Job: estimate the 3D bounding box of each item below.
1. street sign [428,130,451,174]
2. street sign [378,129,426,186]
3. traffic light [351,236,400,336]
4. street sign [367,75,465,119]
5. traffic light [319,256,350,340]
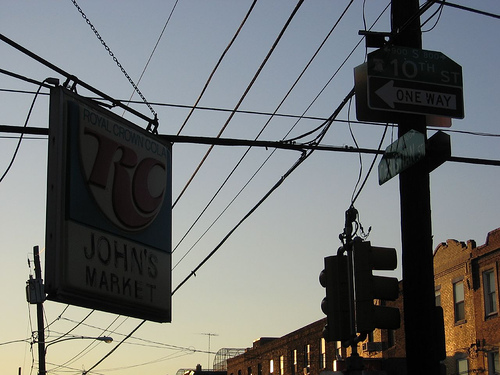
[{"bbox_3d":[2.599,-0.508,9.534,0.264,0.446,0.609,-7,-25,5],"label":"street sign"},{"bbox_3d":[2.245,-0.471,10.378,0.423,0.627,0.959,26,-38,-26],"label":"street sign"},{"bbox_3d":[1.728,1.255,9.633,0.660,1.397,0.712,-5,-24,11],"label":"traffic light"},{"bbox_3d":[2.435,-1.348,10.449,1.358,0.623,0.016,4,-15,-20],"label":"street sign"},{"bbox_3d":[1.246,1.640,10.041,0.382,1.195,0.437,-10,-14,35],"label":"traffic light"}]
